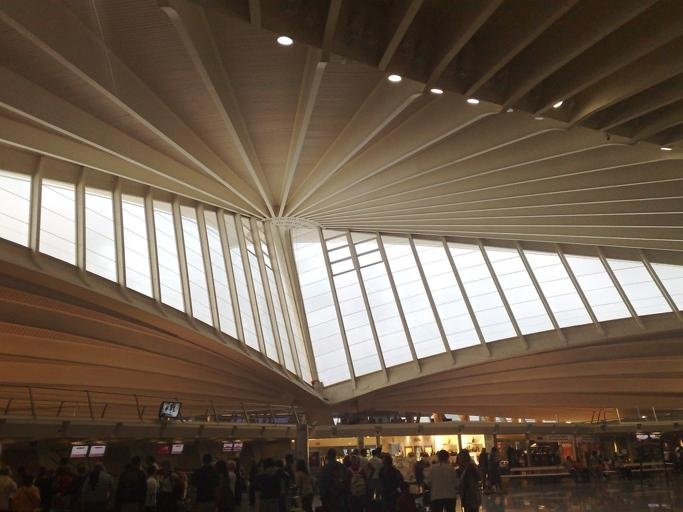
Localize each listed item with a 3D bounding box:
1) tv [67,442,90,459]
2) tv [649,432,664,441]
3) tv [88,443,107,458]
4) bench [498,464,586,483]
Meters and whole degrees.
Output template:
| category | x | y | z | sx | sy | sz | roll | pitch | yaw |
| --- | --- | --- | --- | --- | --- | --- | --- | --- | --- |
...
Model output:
| category | x | y | z | sx | sy | sz | roll | pitch | yaw |
| --- | --- | --- | --- | --- | --- | --- | --- | --- | --- |
| tv | -8.238 | 6.133 | 14.156 | 0.329 | 0.392 | 0.597 | -13 | -23 | 21 |
| tv | 17.966 | 10.425 | 25.891 | 0.679 | 0.419 | 0.235 | -1 | -23 | -7 |
| tv | -7.826 | 6.296 | 14.547 | 0.371 | 0.352 | 0.525 | -6 | -21 | 4 |
| bench | 9.969 | 10.774 | 22.154 | 4.159 | 0.860 | 1.932 | 4 | -21 | -20 |
